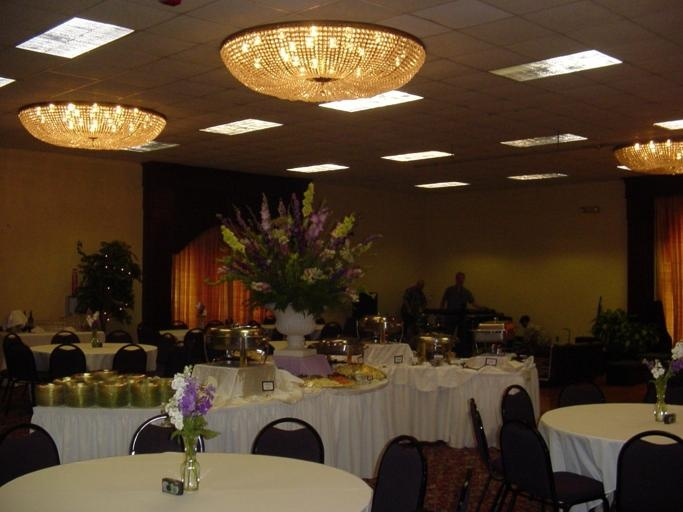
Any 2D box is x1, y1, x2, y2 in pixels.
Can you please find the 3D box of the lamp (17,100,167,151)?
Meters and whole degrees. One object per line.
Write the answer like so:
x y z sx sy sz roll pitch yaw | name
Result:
-3.435 -1.816 7.560 1.783 0.485 0.736 0 -6 -2 | lamp

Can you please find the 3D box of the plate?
-1.967 1.158 4.718 1.163 0.228 0.495 -1 -6 10 | plate

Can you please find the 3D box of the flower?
-0.468 -0.036 5.508 1.417 1.429 0.583 0 -5 1 | flower

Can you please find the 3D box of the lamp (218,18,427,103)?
-0.225 -1.744 4.926 0.993 0.228 0.981 -1 2 14 | lamp
